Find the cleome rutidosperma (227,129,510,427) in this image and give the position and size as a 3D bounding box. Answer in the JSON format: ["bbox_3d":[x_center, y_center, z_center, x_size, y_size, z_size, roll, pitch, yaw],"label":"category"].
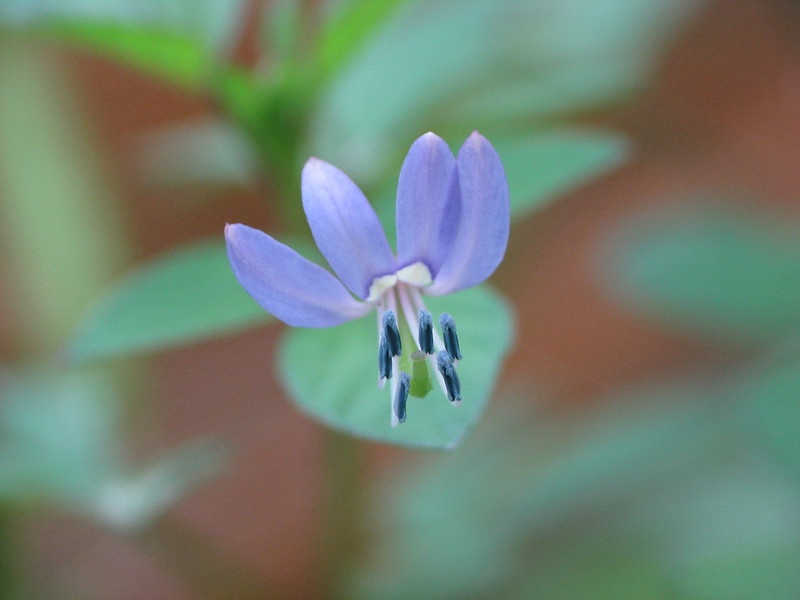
[{"bbox_3d":[-0.075,-0.082,1.438,0.380,0.481,0.285,12,18,-23],"label":"cleome rutidosperma"}]
